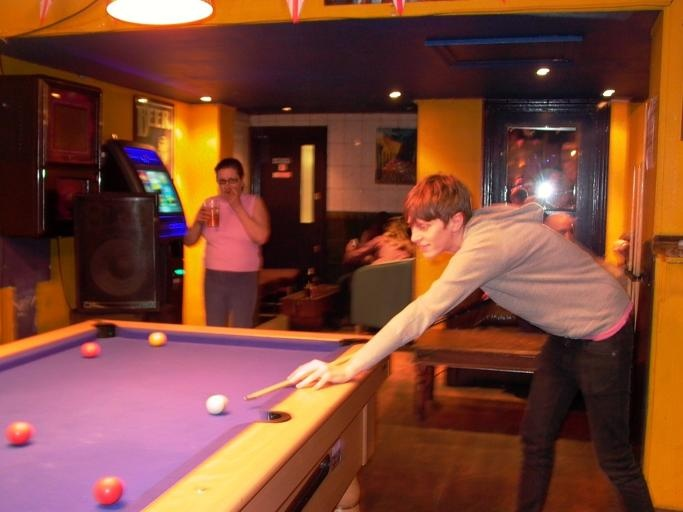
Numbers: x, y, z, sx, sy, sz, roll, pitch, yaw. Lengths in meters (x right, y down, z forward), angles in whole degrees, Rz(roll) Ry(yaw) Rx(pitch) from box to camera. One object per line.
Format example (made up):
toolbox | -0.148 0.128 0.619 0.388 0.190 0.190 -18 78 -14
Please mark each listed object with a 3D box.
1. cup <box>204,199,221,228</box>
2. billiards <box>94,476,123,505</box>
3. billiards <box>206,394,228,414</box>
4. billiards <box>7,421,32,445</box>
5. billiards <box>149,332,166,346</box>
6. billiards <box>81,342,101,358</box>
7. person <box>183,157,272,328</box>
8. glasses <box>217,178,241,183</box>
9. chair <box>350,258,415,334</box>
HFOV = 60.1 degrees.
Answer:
cup | -0.944 -0.315 4.309 0.100 0.198 0.201 -2 11 -13
billiards | -0.610 0.616 1.541 0.066 0.066 0.038 9 1 -12
billiards | -0.438 0.504 2.038 0.052 0.033 0.068 17 11 -3
billiards | -0.993 0.547 1.816 0.064 0.062 0.064 1 26 1
billiards | -0.893 0.394 2.840 0.063 0.043 0.061 1 10 -16
billiards | -1.132 0.424 2.659 0.071 0.065 0.070 1 -6 -4
person | -0.822 -0.054 4.379 0.599 1.310 0.531 -4 12 -20
glasses | -0.824 -0.543 4.303 0.151 0.051 0.079 -1 11 -9
chair | 0.447 0.304 6.535 0.970 0.906 0.640 0 2 -45
